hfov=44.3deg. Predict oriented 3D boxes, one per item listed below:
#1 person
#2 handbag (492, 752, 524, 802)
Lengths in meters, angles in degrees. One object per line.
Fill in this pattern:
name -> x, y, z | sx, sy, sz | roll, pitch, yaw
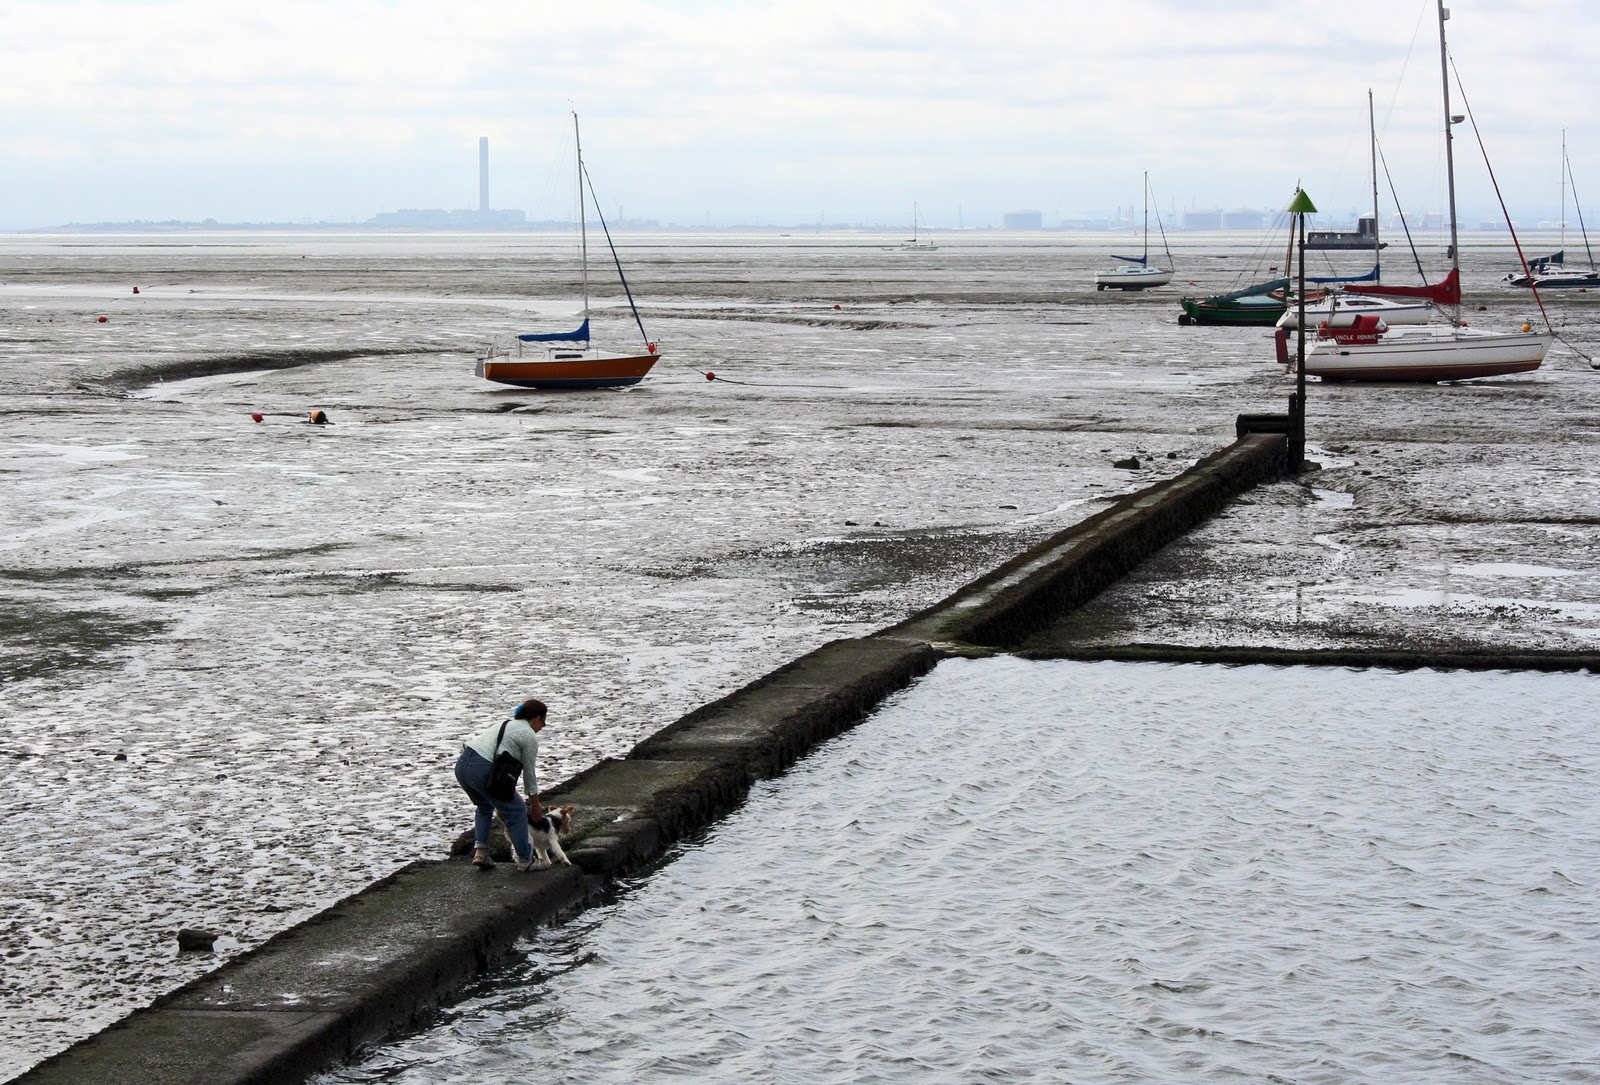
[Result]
person -> -1.973, 1.614, 13.252 | 0.616, 1.083, 0.415 | -7, 13, -7
handbag -> -1.948, 1.547, 13.070 | 0.161, 0.289, 0.256 | 7, -21, 20
